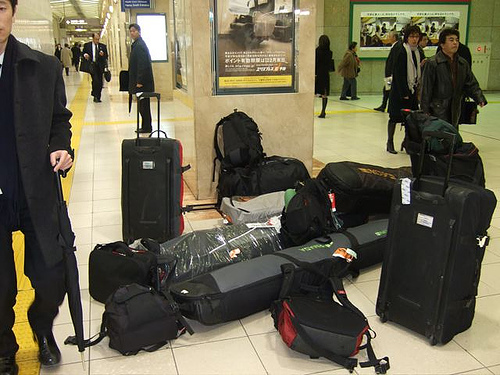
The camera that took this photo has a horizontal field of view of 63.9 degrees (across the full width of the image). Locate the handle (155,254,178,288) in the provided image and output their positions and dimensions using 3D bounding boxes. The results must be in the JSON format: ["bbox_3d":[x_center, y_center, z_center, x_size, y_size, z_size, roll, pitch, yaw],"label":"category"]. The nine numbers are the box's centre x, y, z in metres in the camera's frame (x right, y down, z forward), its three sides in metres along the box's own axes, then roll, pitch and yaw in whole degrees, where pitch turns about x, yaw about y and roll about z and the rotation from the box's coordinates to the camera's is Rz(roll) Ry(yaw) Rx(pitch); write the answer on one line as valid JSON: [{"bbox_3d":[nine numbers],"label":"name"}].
[{"bbox_3d":[-0.556,0.513,2.593,0.072,0.149,0.203,31,54,17],"label":"handle"}]

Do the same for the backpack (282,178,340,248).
[{"bbox_3d":[0.477,0.196,3.086,0.478,0.492,0.298,-3,16,-3],"label":"backpack"}]

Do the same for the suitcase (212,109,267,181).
[{"bbox_3d":[-0.139,-0.492,4.466,0.569,0.773,0.576,-8,6,1],"label":"suitcase"}]

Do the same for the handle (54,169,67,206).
[{"bbox_3d":[-0.923,-0.001,1.946,0.067,0.172,0.029,-4,2,1],"label":"handle"}]

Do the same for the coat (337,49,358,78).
[{"bbox_3d":[2.946,-3.629,11.717,0.732,0.712,0.496,-8,9,-40],"label":"coat"}]

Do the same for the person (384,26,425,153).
[{"bbox_3d":[2.511,-1.600,6.564,0.482,1.940,0.903,5,18,22],"label":"person"}]

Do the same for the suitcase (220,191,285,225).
[{"bbox_3d":[0.062,0.178,3.711,0.368,0.130,0.367,-12,17,-17],"label":"suitcase"}]

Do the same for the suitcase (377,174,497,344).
[{"bbox_3d":[1.085,0.414,2.398,0.548,0.935,0.343,9,20,34],"label":"suitcase"}]

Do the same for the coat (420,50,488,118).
[{"bbox_3d":[2.469,-1.221,4.897,0.647,0.874,0.436,6,12,10],"label":"coat"}]

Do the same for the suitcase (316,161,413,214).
[{"bbox_3d":[1.078,-0.032,3.709,1.139,0.352,0.618,-4,26,-34],"label":"suitcase"}]

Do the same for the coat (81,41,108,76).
[{"bbox_3d":[-5.499,-4.396,14.045,0.664,1.587,0.532,-4,28,-29],"label":"coat"}]

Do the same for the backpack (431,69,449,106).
[{"bbox_3d":[2.340,-1.296,4.899,0.222,0.333,0.171,-8,26,25],"label":"backpack"}]

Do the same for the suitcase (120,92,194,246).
[{"bbox_3d":[-0.816,0.018,3.411,0.583,0.874,0.228,0,16,5],"label":"suitcase"}]

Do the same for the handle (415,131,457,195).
[{"bbox_3d":[1.008,-0.056,2.223,0.206,0.127,0.391,16,-14,24],"label":"handle"}]

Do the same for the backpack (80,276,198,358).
[{"bbox_3d":[-0.640,0.742,2.392,0.518,0.268,0.407,-7,14,-11],"label":"backpack"}]

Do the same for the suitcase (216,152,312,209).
[{"bbox_3d":[0.087,-0.135,4.269,0.971,0.483,0.629,-5,20,-2],"label":"suitcase"}]

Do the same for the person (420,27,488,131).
[{"bbox_3d":[2.462,-1.298,4.896,0.746,1.196,0.294,-2,16,-1],"label":"person"}]

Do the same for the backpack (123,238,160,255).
[{"bbox_3d":[-0.760,0.435,2.842,0.204,0.069,0.127,13,16,3],"label":"backpack"}]

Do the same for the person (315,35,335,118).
[{"bbox_3d":[1.861,-2.864,10.209,0.391,1.975,1.406,1,16,10],"label":"person"}]

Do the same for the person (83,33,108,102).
[{"bbox_3d":[-5.255,-4.076,13.613,0.844,2.295,0.874,-7,15,-41],"label":"person"}]

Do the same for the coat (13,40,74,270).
[{"bbox_3d":[-1.012,-0.153,2.014,0.248,1.095,0.316,-9,18,-23],"label":"coat"}]

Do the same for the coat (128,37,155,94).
[{"bbox_3d":[-2.130,-2.348,7.662,0.466,1.014,0.478,-6,17,-15],"label":"coat"}]

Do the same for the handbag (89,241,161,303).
[{"bbox_3d":[-0.854,0.583,2.678,0.478,0.420,0.165,8,2,29],"label":"handbag"}]

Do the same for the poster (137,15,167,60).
[{"bbox_3d":[-3.072,-4.653,12.492,1.041,1.799,0.150,-3,-15,-6],"label":"poster"}]

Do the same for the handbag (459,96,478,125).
[{"bbox_3d":[2.826,-1.021,5.192,0.195,0.381,0.283,-1,19,26],"label":"handbag"}]

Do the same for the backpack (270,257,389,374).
[{"bbox_3d":[0.449,0.727,2.482,0.637,0.354,0.793,-1,16,2],"label":"backpack"}]

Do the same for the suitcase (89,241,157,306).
[{"bbox_3d":[-0.815,0.554,2.551,0.358,0.328,0.118,11,15,33],"label":"suitcase"}]

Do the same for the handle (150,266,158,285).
[{"bbox_3d":[-0.604,0.553,2.530,0.062,0.109,0.036,12,22,40],"label":"handle"}]
